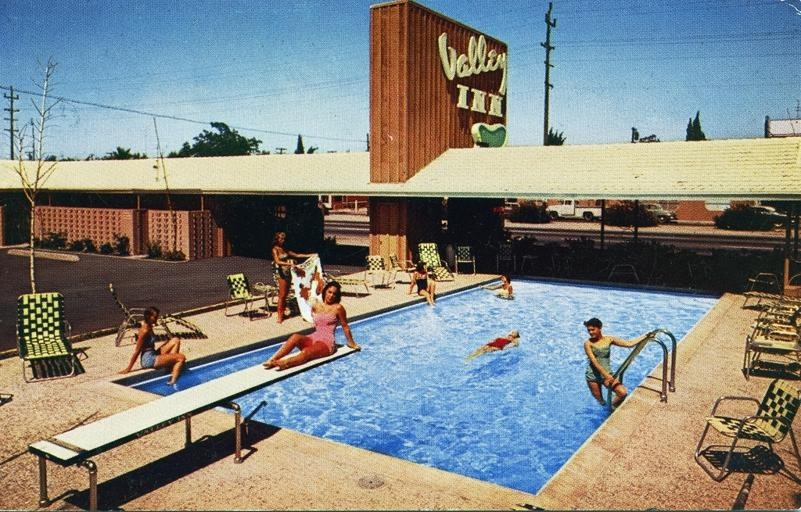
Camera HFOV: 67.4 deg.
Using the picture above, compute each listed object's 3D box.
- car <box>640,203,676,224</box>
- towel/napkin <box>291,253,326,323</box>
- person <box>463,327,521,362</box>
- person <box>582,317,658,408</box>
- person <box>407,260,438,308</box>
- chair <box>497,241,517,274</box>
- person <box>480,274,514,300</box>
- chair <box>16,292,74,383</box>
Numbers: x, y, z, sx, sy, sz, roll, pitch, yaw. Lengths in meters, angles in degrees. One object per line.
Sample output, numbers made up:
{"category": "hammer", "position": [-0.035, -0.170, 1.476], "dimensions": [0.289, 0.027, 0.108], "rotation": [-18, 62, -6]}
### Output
{"category": "car", "position": [24.626, -3.924, 56.638], "dimensions": [0.977, 2.284, 8.308], "rotation": [-2, 8, 35]}
{"category": "towel/napkin", "position": [-2.598, 0.948, 16.627], "dimensions": [0.274, 1.591, 1.696], "rotation": [3, -11, 18]}
{"category": "person", "position": [2.478, 2.406, 16.091], "dimensions": [1.685, 0.432, 0.518], "rotation": [-10, 7, -27]}
{"category": "person", "position": [4.535, 2.351, 13.089], "dimensions": [1.224, 1.992, 0.555], "rotation": [-1, 8, 41]}
{"category": "person", "position": [0.700, 0.915, 20.696], "dimensions": [0.773, 1.457, 1.479], "rotation": [-9, 6, -21]}
{"category": "chair", "position": [4.624, 0.047, 26.233], "dimensions": [0.817, 1.164, 2.126], "rotation": [-6, 6, 10]}
{"category": "person", "position": [3.509, 1.180, 21.556], "dimensions": [1.205, 0.769, 0.689], "rotation": [-3, 0, 16]}
{"category": "chair", "position": [-8.169, 1.803, 13.701], "dimensions": [1.238, 1.476, 2.158], "rotation": [-5, 32, -33]}
